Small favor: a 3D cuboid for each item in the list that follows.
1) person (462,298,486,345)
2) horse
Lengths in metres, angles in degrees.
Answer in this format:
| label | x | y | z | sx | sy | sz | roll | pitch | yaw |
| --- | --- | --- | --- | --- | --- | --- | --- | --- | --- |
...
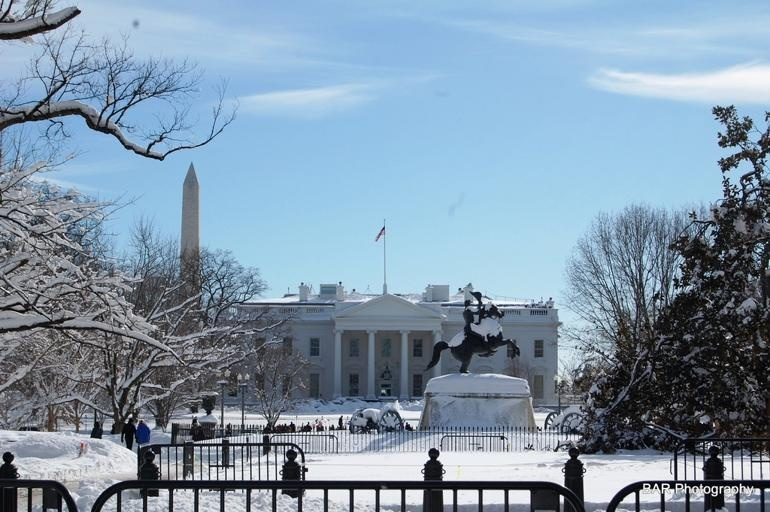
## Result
| label | x | y | z | sx | sy | sz | roll | pitch | yaw |
| --- | --- | --- | --- | --- | --- | --- | --- | --- | --- |
| person | 3.861 | 2.720 | 63.054 | 0.911 | 1.986 | 1.311 | -1 | -8 | 2 |
| horse | 3.688 | 3.257 | 63.318 | 4.089 | 3.410 | 1.157 | -6 | -2 | 8 |
